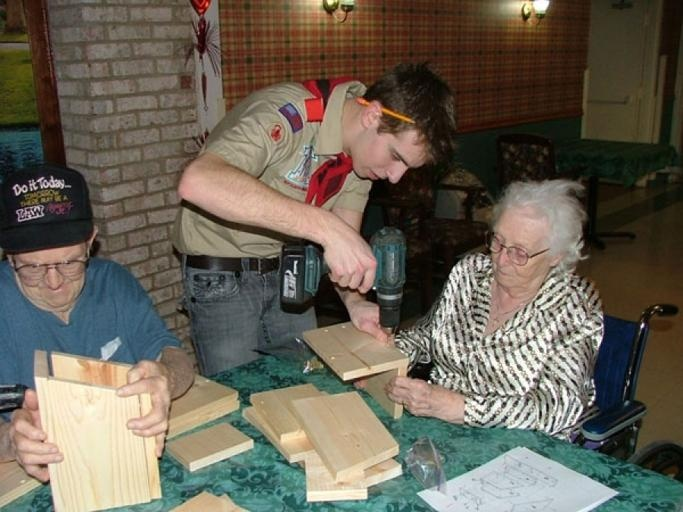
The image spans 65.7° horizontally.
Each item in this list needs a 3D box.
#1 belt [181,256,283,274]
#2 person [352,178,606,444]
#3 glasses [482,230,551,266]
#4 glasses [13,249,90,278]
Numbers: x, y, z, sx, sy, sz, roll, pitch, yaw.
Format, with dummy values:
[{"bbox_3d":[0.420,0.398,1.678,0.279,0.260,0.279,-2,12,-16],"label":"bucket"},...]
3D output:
[{"bbox_3d":[-0.435,0.000,2.124,0.304,0.080,0.204,1,10,-24],"label":"belt"},{"bbox_3d":[0.602,0.157,2.182,1.024,1.070,0.798,-9,25,-31],"label":"person"},{"bbox_3d":[0.623,-0.039,1.983,0.135,0.104,0.266,-8,14,-32],"label":"glasses"},{"bbox_3d":[-0.861,0.031,1.570,0.195,0.057,0.060,-7,13,-28],"label":"glasses"}]
